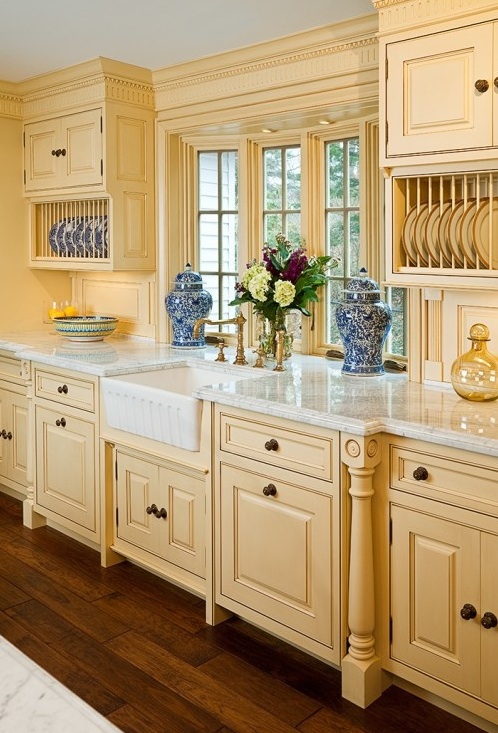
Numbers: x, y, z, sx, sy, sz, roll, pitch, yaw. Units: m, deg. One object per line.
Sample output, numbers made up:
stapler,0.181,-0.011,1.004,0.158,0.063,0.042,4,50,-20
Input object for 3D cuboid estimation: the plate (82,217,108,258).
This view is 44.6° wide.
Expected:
plate,-0.914,-0.773,3.679,0.187,0.260,0.043,0,-5,31

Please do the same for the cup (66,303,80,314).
cup,-1.175,-0.383,4.089,0.097,0.092,0.097,0,5,0

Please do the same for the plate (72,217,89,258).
plate,-1.039,-0.793,3.763,0.046,0.215,0.212,0,18,-23

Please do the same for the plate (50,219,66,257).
plate,-1.238,-0.836,3.936,0.035,0.196,0.198,5,-3,-31

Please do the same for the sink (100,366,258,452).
sink,-0.308,0.160,2.735,0.541,0.196,0.401,5,7,42

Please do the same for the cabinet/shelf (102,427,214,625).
cabinet/shelf,-0.369,0.678,2.580,0.780,0.633,0.308,3,2,44

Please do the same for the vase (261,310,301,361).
vase,0.151,-0.157,3.131,0.221,0.243,0.216,1,1,36

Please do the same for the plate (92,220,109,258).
plate,-0.868,-0.762,3.615,0.041,0.207,0.201,-1,-5,-24

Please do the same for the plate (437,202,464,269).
plate,0.676,-0.446,2.048,0.025,0.178,0.184,6,0,12

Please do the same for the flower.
flower,0.169,-0.423,3.066,0.399,0.394,0.456,19,43,25

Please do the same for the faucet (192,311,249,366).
faucet,-0.150,-0.150,3.333,0.318,0.282,0.102,4,8,37

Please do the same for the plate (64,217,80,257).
plate,-1.117,-0.818,3.839,0.046,0.217,0.216,-3,12,-39
